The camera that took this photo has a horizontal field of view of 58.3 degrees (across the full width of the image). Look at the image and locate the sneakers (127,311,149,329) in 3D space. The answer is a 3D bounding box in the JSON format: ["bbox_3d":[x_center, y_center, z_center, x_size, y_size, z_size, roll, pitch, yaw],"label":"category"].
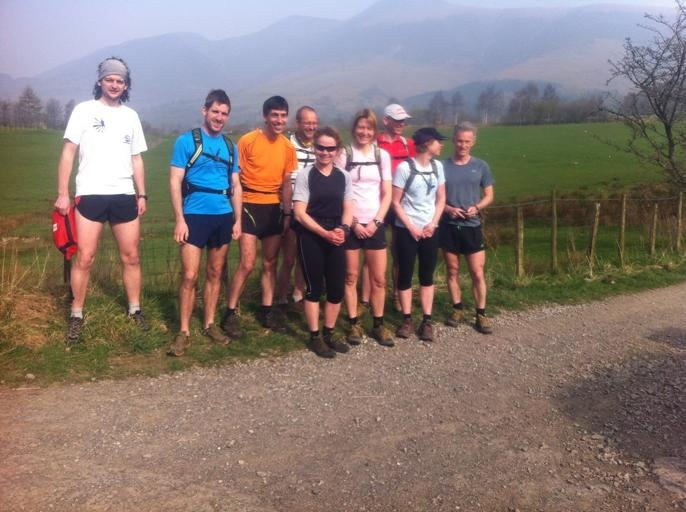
[{"bbox_3d":[-2.979,0.928,8.922,0.182,0.331,0.152,-27,-28,-8],"label":"sneakers"}]

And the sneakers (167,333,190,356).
[{"bbox_3d":[-2.316,1.242,8.699,0.205,0.278,0.362,4,14,27],"label":"sneakers"}]

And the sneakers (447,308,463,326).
[{"bbox_3d":[1.868,1.028,10.222,0.134,0.217,0.420,2,-1,19],"label":"sneakers"}]

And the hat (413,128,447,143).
[{"bbox_3d":[1.251,-1.828,9.222,0.319,0.169,0.266,-1,11,-7],"label":"hat"}]

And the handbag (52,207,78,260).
[{"bbox_3d":[-3.865,-0.467,8.500,0.282,1.005,0.242,-11,-21,6],"label":"handbag"}]

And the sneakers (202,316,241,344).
[{"bbox_3d":[-1.832,1.112,9.178,0.631,0.328,0.246,3,9,39],"label":"sneakers"}]
